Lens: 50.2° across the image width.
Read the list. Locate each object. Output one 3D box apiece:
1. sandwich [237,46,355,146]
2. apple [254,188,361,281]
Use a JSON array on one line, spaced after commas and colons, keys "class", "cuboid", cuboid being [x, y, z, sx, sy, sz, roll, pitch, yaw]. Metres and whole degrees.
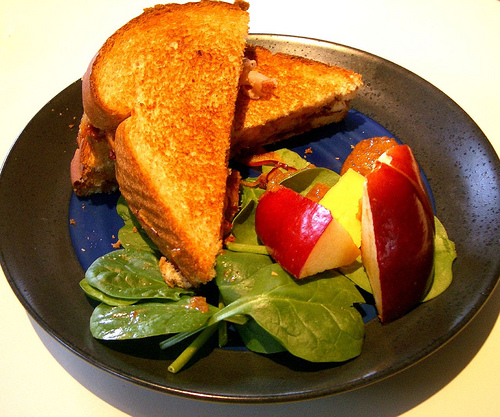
[{"class": "sandwich", "cuboid": [0.234, -0.563, 2.655, 0.556, 0.346, 0.533, 5, 65, 2]}, {"class": "apple", "cuboid": [0.177, 0.044, 2.156, 0.294, 0.167, 0.464, -21, 42, -27]}]
